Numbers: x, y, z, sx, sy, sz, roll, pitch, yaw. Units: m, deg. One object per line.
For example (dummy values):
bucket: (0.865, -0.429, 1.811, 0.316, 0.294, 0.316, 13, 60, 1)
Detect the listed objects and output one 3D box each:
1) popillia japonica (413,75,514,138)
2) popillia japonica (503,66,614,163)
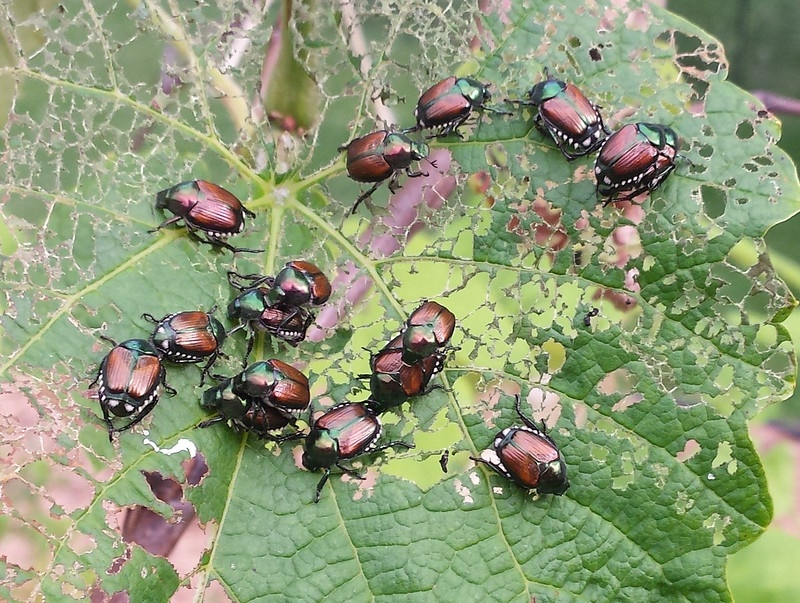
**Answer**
popillia japonica: (0.279, -0.827, 3.665, 0.379, 0.241, 0.114, -1, 43, 11)
popillia japonica: (0.697, -0.768, 3.664, 0.299, 0.133, 0.404, -43, 78, -5)
